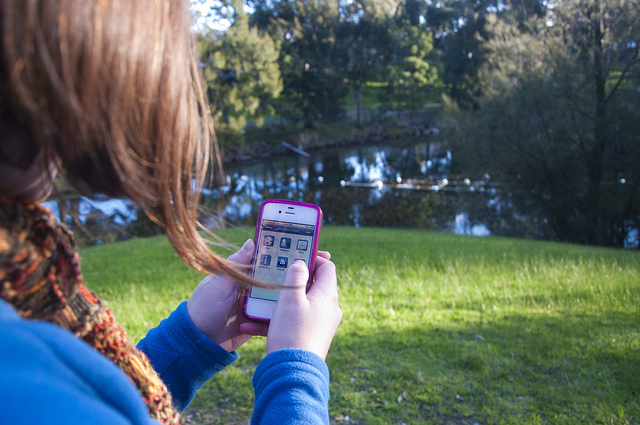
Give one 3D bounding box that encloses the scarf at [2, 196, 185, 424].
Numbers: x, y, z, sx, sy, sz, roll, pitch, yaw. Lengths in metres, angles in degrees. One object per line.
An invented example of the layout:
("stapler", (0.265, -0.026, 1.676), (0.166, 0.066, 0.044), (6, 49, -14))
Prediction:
("scarf", (-0.981, 0.424, 3.124), (0.680, 0.962, 0.304), (1, 3, -28))
